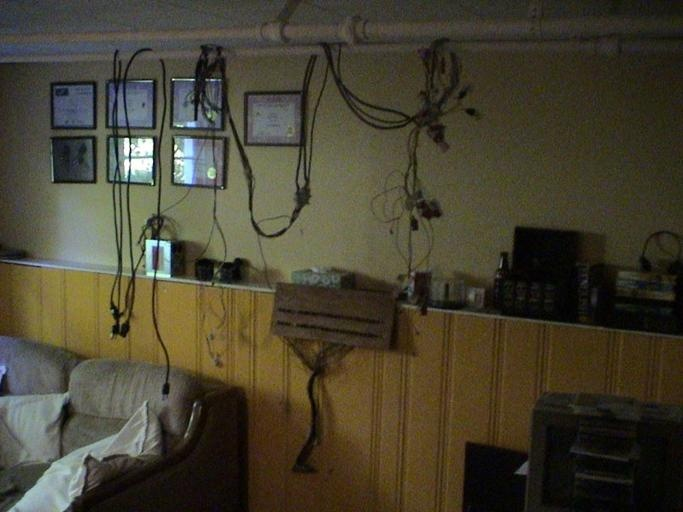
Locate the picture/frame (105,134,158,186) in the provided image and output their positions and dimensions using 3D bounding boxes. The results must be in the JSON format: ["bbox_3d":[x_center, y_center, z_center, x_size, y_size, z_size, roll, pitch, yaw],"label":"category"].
[{"bbox_3d":[-1.310,-0.610,3.911,0.295,0.274,0.030,6,9,26],"label":"picture/frame"}]

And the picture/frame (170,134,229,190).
[{"bbox_3d":[-0.851,-0.580,3.765,0.298,0.271,0.041,5,11,17],"label":"picture/frame"}]

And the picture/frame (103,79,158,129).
[{"bbox_3d":[-1.299,-0.951,3.855,0.330,0.334,0.056,3,8,17],"label":"picture/frame"}]

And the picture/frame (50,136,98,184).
[{"bbox_3d":[-1.768,-0.630,4.074,0.026,0.312,0.350,7,11,26],"label":"picture/frame"}]

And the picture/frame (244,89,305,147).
[{"bbox_3d":[-0.373,-0.803,3.576,0.311,0.283,0.025,2,3,12],"label":"picture/frame"}]

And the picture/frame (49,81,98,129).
[{"bbox_3d":[-1.722,-0.982,4.013,0.282,0.269,0.030,4,10,19],"label":"picture/frame"}]
